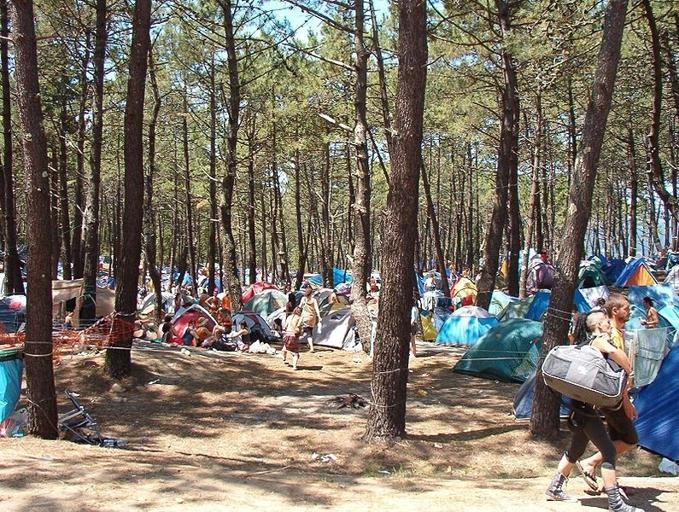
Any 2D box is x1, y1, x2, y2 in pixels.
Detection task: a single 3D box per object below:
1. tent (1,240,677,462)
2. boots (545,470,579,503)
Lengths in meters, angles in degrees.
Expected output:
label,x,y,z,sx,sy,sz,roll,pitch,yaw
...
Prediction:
label,x,y,z,sx,sy,sz,roll,pitch,yaw
tent,-0.711,2.335,12.757,9.513,1.752,5.788,2,-3,5
boots,2.722,2.814,8.167,0.453,0.356,0.198,7,-4,-16
